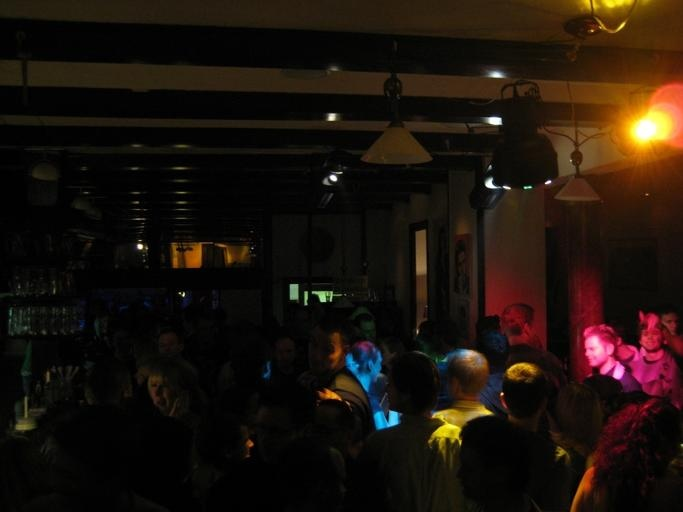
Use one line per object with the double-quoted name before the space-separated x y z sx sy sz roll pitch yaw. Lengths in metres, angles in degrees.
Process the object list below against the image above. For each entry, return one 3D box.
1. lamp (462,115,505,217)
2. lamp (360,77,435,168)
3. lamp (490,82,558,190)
"lamp" 1.331 -0.846 6.629 0.355 0.376 0.669 -27 -3 -2
"lamp" 0.347 -0.896 4.542 0.454 0.542 0.481 1 13 11
"lamp" 1.268 -0.841 4.955 0.424 0.810 0.845 -3 -4 17
